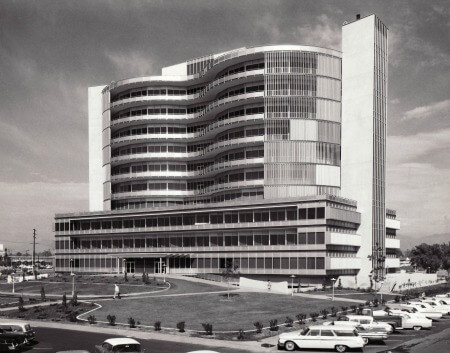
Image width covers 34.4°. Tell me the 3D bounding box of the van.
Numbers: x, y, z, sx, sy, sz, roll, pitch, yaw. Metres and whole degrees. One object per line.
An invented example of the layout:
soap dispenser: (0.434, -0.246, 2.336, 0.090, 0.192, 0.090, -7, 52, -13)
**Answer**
van: (12.324, 20.288, 91.736, 9.916, 3.143, 1.968, 0, -5, 11)
